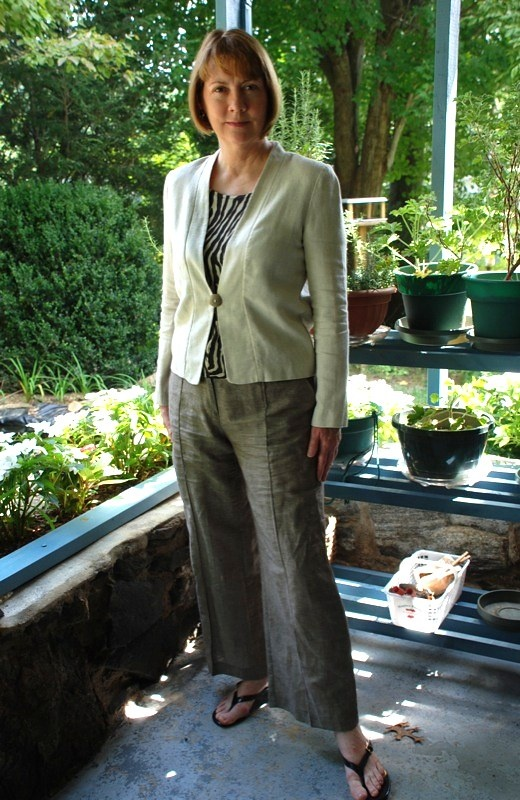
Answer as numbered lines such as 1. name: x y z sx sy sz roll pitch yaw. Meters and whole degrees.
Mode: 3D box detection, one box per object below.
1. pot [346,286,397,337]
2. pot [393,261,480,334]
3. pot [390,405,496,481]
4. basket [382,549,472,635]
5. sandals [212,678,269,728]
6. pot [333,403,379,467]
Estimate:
1. pot: 0.314 -0.251 1.912 0.154 0.100 0.147 -8 18 3
2. pot: 0.493 -0.275 1.806 0.215 0.145 0.204 -2 11 0
3. pot: 0.539 0.123 1.949 0.286 0.219 0.297 -2 11 0
4. basket: 0.524 0.580 2.090 0.200 0.139 0.273 6 14 33
5. sandals: -0.052 0.860 1.907 0.084 0.042 0.188 10 17 44
6. pot: 0.321 0.112 2.185 0.184 0.121 0.176 -1 14 0
